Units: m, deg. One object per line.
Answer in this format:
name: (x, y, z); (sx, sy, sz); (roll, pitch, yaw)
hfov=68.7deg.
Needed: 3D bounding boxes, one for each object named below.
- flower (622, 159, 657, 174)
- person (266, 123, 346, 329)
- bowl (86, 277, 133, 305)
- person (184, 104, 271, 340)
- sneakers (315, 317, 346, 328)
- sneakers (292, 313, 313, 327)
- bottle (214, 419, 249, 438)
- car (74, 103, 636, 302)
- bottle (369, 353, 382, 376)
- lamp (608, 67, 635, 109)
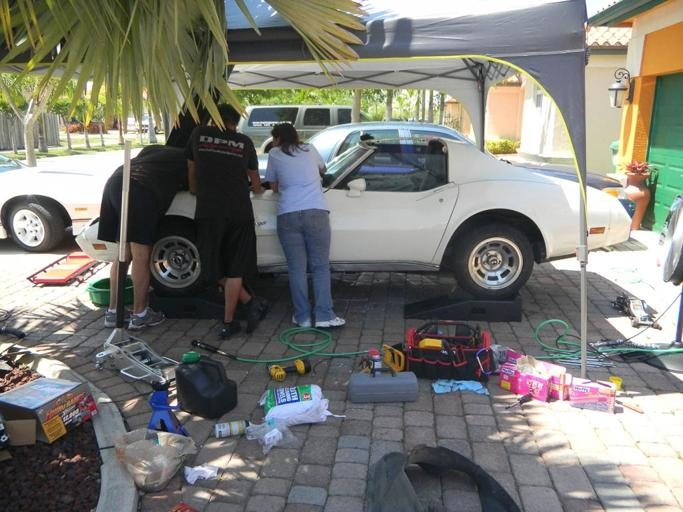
flower: (6.039, -1.780, 10.133); (0.475, 0.200, 0.444); (-2, 5, -21)
person: (-0.403, -0.340, 5.840); (0.597, 2.336, 0.908); (-18, 24, -40)
bowl: (-3.118, 0.468, 6.652); (0.596, 0.214, 0.557); (2, 4, 0)
person: (-1.245, -0.383, 5.610); (0.760, 2.509, 0.693); (-9, 20, -22)
sneakers: (-0.113, 0.792, 6.003); (0.387, 0.163, 0.131); (-4, 10, -15)
sneakers: (-0.461, 0.770, 5.967); (0.256, 0.101, 0.101); (2, 6, 33)
bottle: (-0.890, 1.382, 4.074); (0.260, 0.087, 0.107); (-6, 28, -21)
car: (0.478, -0.617, 6.692); (5.949, 1.618, 2.553); (0, 8, 2)
bottle: (0.324, 0.978, 4.588); (0.116, 0.203, 0.115); (-1, 18, 0)
lamp: (6.392, -3.858, 11.439); (0.649, 0.832, 0.463); (3, 16, 11)
